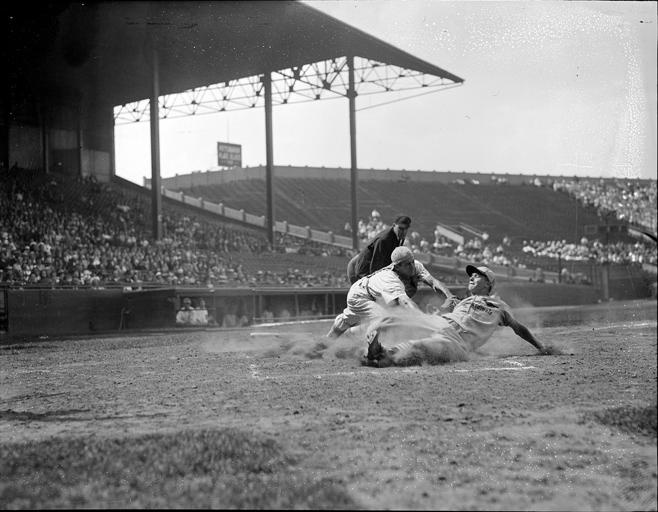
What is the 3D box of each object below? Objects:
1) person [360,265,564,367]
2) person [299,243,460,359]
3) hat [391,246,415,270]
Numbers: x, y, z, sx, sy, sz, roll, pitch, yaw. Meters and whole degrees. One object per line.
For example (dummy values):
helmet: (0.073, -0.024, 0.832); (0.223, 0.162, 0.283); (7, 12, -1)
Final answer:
person: (1.393, 0.633, 11.715); (1.788, 0.914, 1.275); (-2, 5, -19)
person: (0.900, 0.633, 12.561); (0.933, 1.161, 2.175); (-15, -11, -37)
hat: (1.013, 0.016, 12.185); (0.208, 0.290, 0.304); (-1, 7, 1)
